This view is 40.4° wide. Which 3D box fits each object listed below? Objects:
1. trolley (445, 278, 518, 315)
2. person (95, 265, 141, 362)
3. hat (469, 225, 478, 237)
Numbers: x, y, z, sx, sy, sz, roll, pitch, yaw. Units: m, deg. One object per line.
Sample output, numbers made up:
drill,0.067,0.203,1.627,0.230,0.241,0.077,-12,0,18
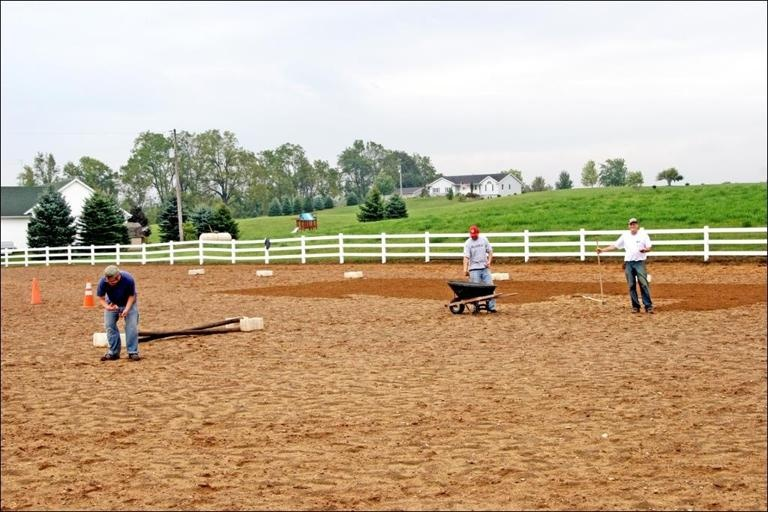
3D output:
trolley,2.200,0.987,25.649,1.430,0.539,0.757,0,2,-1
person,-5.680,1.182,22.112,0.811,1.458,1.006,-5,3,-15
hat,2.207,-0.626,25.700,0.186,0.279,0.592,-4,2,6
